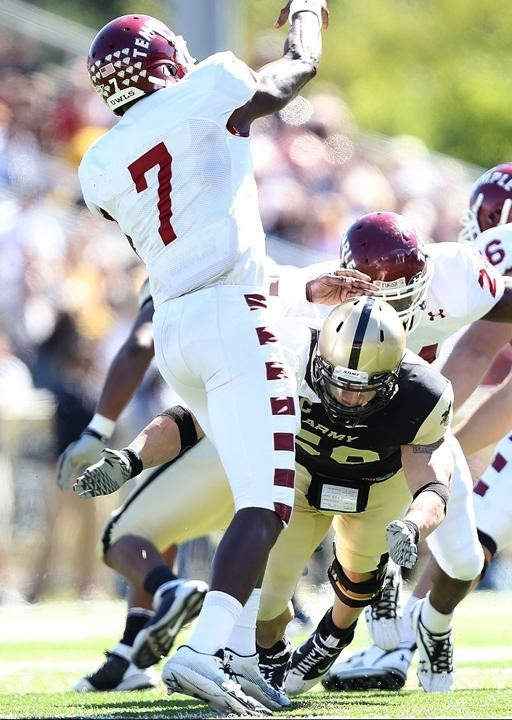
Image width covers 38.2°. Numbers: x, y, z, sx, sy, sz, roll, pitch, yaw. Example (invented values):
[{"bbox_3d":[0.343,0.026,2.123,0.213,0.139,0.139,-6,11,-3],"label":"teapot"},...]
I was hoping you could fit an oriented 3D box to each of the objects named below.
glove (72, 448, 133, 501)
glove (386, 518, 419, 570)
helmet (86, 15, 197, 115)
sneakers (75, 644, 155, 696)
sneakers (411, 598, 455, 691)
[{"bbox_3d":[-0.304,0.231,1.478,0.064,0.082,0.115,20,47,19],"label":"glove"},{"bbox_3d":[0.241,0.316,1.267,0.038,0.062,0.083,3,38,-20],"label":"glove"},{"bbox_3d":[-0.267,-0.675,1.727,0.261,0.183,0.200,-27,15,-24],"label":"helmet"},{"bbox_3d":[-0.410,0.958,2.299,0.349,0.168,0.101,1,-4,-5],"label":"sneakers"},{"bbox_3d":[0.512,0.829,2.203,0.103,0.260,0.113,-8,2,-13],"label":"sneakers"}]
